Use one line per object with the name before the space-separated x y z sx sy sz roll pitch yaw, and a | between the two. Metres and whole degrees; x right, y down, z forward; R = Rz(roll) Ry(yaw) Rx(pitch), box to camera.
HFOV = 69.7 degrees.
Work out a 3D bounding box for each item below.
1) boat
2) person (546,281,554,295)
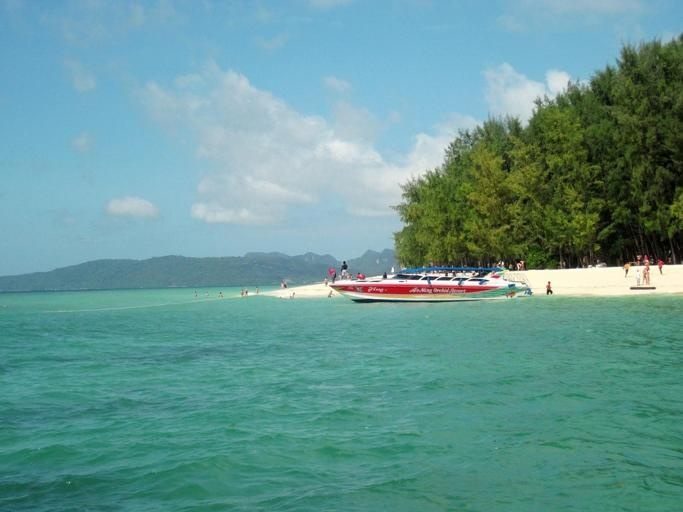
boat | 9.539 3.153 49.866 11.988 2.197 4.819 1 -7 11
person | 21.842 3.344 51.504 0.664 1.376 3.736 -2 -1 23
